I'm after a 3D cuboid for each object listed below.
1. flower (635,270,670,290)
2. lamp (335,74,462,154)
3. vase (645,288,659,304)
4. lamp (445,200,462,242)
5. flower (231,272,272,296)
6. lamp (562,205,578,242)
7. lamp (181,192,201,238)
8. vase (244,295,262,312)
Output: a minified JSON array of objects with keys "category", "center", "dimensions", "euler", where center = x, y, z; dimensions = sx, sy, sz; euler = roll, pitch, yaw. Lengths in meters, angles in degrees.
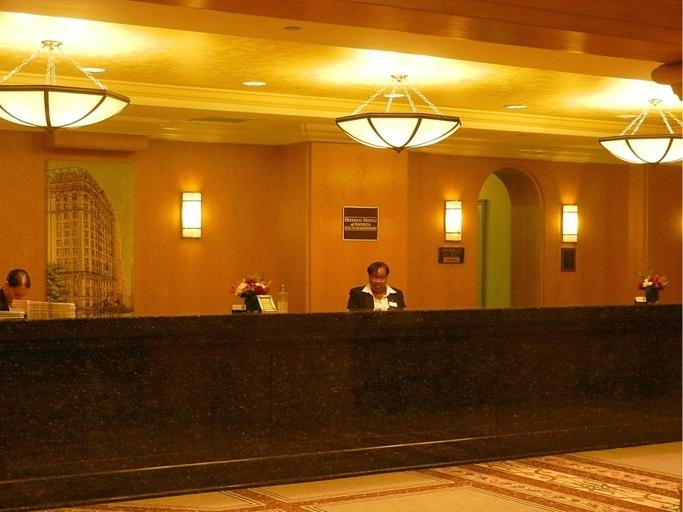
[{"category":"flower","center":[5.470,0.425,10.761],"dimensions":[0.440,0.270,0.437],"euler":[-1,-5,31]},{"category":"lamp","center":[0.794,-1.845,8.154],"dimensions":[1.344,0.786,1.313],"euler":[2,-2,14]},{"category":"vase","center":[4.394,0.570,8.598],"dimensions":[0.207,0.247,0.200],"euler":[2,-7,11]},{"category":"lamp","center":[2.233,-0.692,11.983],"dimensions":[0.418,0.799,0.196],"euler":[0,11,-14]},{"category":"flower","center":[-1.276,0.399,8.402],"dimensions":[0.442,0.311,0.493],"euler":[5,3,-3]},{"category":"lamp","center":[4.819,-0.663,12.815],"dimensions":[0.373,0.794,0.162],"euler":[0,11,-15]},{"category":"lamp","center":[-2.597,-0.693,10.485],"dimensions":[0.344,0.812,0.183],"euler":[-1,12,-20]},{"category":"vase","center":[-0.983,0.549,6.762],"dimensions":[0.200,0.187,0.188],"euler":[-1,-8,-3]}]
